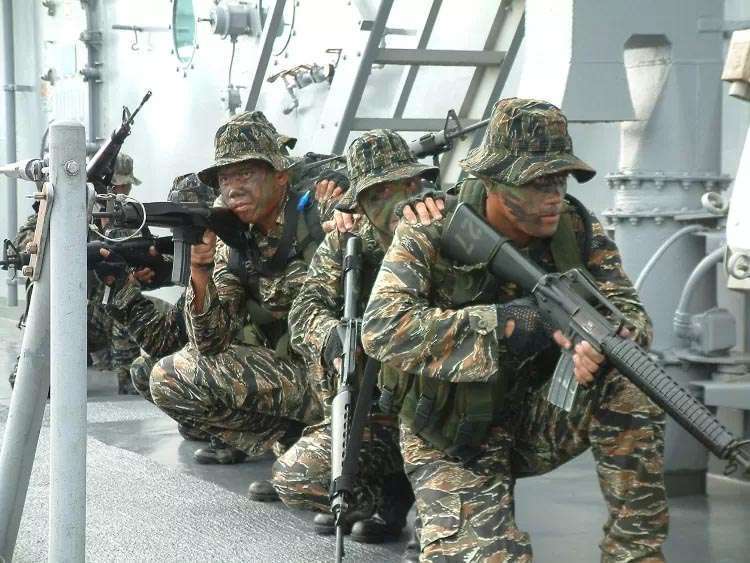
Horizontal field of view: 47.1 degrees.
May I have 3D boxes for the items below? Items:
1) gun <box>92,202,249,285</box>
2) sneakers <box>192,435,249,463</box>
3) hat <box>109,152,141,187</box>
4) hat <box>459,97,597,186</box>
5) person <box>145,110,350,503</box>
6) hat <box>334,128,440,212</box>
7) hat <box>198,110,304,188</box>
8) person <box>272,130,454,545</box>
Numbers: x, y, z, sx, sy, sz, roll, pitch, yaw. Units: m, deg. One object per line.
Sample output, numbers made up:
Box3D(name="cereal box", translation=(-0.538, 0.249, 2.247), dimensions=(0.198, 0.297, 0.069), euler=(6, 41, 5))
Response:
Box3D(name="gun", translation=(-0.931, -0.185, 3.978), dimensions=(0.171, 0.438, 0.928), euler=(0, 5, 29))
Box3D(name="sneakers", translation=(-0.905, 1.018, 5.088), dimensions=(0.324, 0.131, 0.178), euler=(10, 47, -1))
Box3D(name="hat", translation=(-2.276, -1.018, 7.822), dimensions=(0.277, 0.203, 0.290), euler=(3, -3, -6))
Box3D(name="hat", translation=(0.550, -0.534, 3.270), dimensions=(0.477, 0.296, 0.562), euler=(-1, 16, -6))
Box3D(name="person", translation=(-0.639, 0.182, 4.650), dimensions=(1.020, 1.970, 1.243), euler=(3, 3, -39))
Box3D(name="hat", translation=(0.005, -0.557, 4.106), dimensions=(0.475, 0.352, 0.585), euler=(-10, 9, 19))
Box3D(name="hat", translation=(-0.670, -0.732, 4.606), dimensions=(0.506, 0.311, 0.474), euler=(-6, 1, -23))
Box3D(name="person", translation=(-0.020, 0.275, 4.058), dimensions=(0.759, 2.176, 0.569), euler=(4, -9, 12))
